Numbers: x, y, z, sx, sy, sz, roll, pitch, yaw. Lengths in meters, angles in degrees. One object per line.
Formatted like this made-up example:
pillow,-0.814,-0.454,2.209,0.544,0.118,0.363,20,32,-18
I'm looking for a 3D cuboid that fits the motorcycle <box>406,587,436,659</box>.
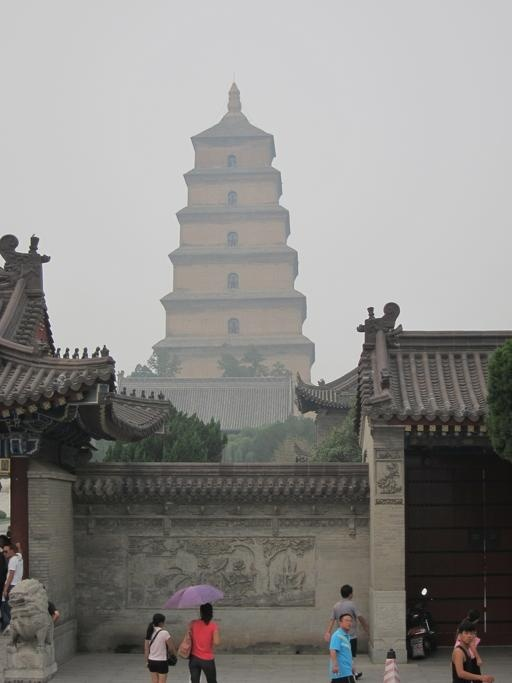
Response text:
motorcycle,2.083,3.942,26.169,0.350,0.603,0.860,-2,8,4
